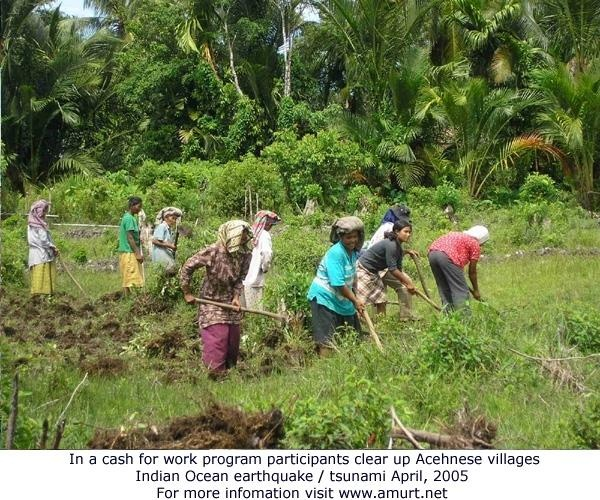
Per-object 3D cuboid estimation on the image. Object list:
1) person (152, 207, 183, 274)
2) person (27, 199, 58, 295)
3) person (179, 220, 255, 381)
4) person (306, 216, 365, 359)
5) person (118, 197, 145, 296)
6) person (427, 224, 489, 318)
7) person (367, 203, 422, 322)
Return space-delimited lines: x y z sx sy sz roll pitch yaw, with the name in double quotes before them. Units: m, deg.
"person" -2.127 -0.201 10.190 0.491 0.990 0.812 -6 14 -13
"person" -4.179 -0.001 10.339 0.429 1.546 0.238 -5 13 -11
"person" -0.917 0.564 7.384 0.823 1.769 0.476 -12 16 -35
"person" 0.437 0.459 7.539 0.686 1.700 0.481 -3 13 -1
"person" -2.790 -0.075 10.610 0.446 1.625 0.436 -7 14 -18
"person" 2.155 0.342 8.674 0.902 1.457 0.633 -14 23 -21
"person" 1.341 0.195 9.234 0.811 1.690 0.598 9 31 17
